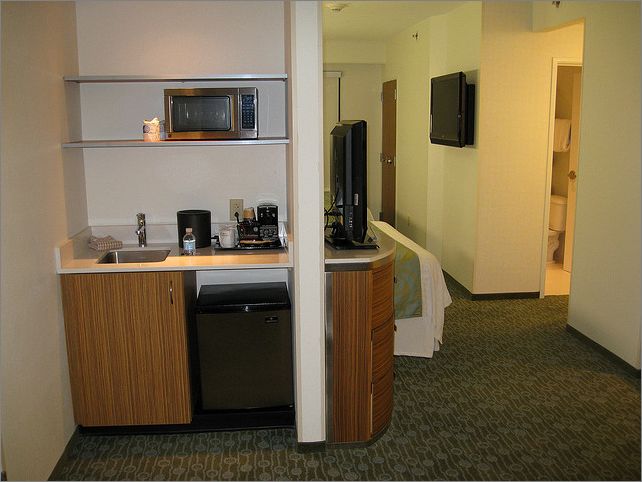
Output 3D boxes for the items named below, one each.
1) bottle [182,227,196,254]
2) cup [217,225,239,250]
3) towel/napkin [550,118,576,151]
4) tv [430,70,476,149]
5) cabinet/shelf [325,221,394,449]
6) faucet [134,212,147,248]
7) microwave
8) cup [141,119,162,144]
[{"bbox_3d":[-0.948,-0.002,3.601,0.086,0.151,0.241,-5,16,-15],"label":"bottle"},{"bbox_3d":[-0.685,-0.024,3.709,0.166,0.172,0.132,-2,9,-13],"label":"cup"},{"bbox_3d":[3.278,-1.439,6.804,0.203,0.412,0.217,5,15,20],"label":"towel/napkin"},{"bbox_3d":[1.500,-1.488,5.661,0.285,0.912,0.917,-3,11,-11],"label":"tv"},{"bbox_3d":[0.236,0.643,3.232,0.469,1.203,1.247,-2,10,-2],"label":"cabinet/shelf"},{"bbox_3d":[-1.359,-0.088,3.788,0.066,0.234,0.168,-3,15,-9],"label":"faucet"},{"bbox_3d":[-0.790,-0.898,3.544,0.594,0.401,0.375,0,7,-1],"label":"microwave"},{"bbox_3d":[-1.222,-0.807,3.613,0.130,0.151,0.404,-6,16,-18],"label":"cup"}]
